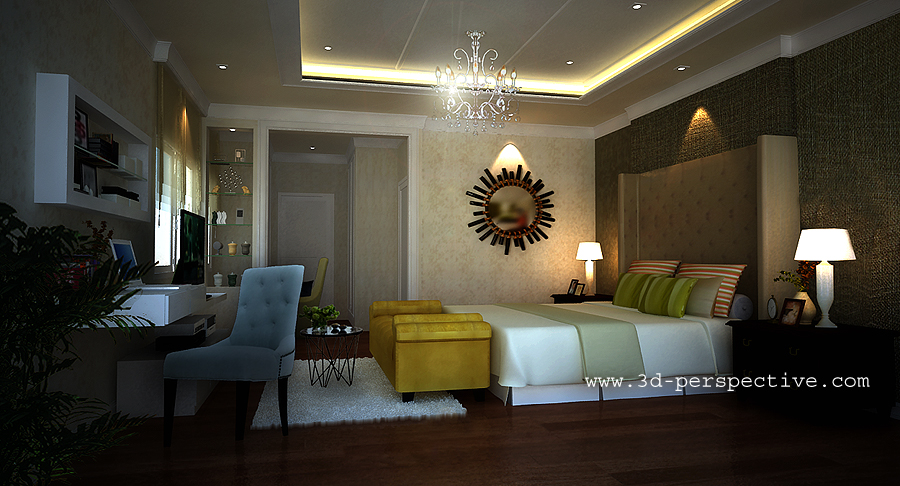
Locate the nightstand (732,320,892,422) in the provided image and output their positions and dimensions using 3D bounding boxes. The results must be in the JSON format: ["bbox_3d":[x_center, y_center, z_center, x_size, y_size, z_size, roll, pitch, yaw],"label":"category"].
[{"bbox_3d":[3.732,1.260,5.470,1.080,0.679,1.017,2,-4,-6],"label":"nightstand"}]

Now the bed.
[{"bbox_3d":[1.804,1.098,6.086,2.083,0.959,1.939,1,-4,-4],"label":"bed"}]

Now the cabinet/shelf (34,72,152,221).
[{"bbox_3d":[-3.283,-0.862,4.797,0.255,0.900,1.674,-1,-2,-7],"label":"cabinet/shelf"}]

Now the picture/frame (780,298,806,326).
[{"bbox_3d":[3.617,0.730,5.551,0.046,0.313,0.251,20,1,-28],"label":"picture/frame"}]

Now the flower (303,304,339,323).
[{"bbox_3d":[-1.469,0.810,6.040,0.331,0.272,0.259,-4,15,-15],"label":"flower"}]

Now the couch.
[{"bbox_3d":[-0.203,0.838,5.774,0.956,0.651,1.641,-1,1,-14],"label":"couch"}]

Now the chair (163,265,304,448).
[{"bbox_3d":[-2.025,0.999,5.189,1.077,1.383,1.109,1,14,1],"label":"chair"}]

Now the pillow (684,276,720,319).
[{"bbox_3d":[2.996,0.637,6.113,0.165,0.404,0.430,20,-7,-22],"label":"pillow"}]

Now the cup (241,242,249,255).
[{"bbox_3d":[-3.014,0.074,7.752,0.182,0.182,0.171,-2,-7,0],"label":"cup"}]

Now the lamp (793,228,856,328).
[{"bbox_3d":[3.884,0.337,5.524,0.488,1.008,0.634,11,18,35],"label":"lamp"}]

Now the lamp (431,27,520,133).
[{"bbox_3d":[0.443,-2.164,6.702,0.708,0.754,0.691,8,30,33],"label":"lamp"}]

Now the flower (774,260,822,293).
[{"bbox_3d":[3.817,0.361,5.814,0.435,0.306,0.339,0,-4,-9],"label":"flower"}]

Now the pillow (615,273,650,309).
[{"bbox_3d":[2.350,0.600,6.883,0.146,0.409,0.468,22,1,-10],"label":"pillow"}]
